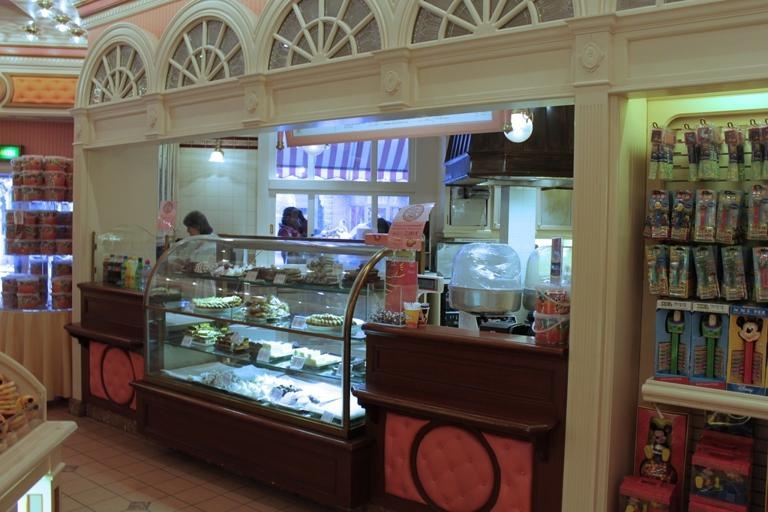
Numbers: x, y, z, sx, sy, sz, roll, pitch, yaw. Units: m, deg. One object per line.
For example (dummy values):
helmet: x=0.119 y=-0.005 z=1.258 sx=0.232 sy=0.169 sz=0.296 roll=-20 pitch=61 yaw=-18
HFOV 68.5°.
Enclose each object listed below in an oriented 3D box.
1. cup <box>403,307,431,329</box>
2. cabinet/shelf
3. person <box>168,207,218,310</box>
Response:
cup: x=0.247 y=0.458 z=4.198 sx=0.177 sy=0.120 sz=0.130 roll=1 pitch=-1 yaw=0
cabinet/shelf: x=-1.079 y=0.848 z=4.782 sx=2.361 sy=2.017 sz=0.534 roll=1 pitch=4 yaw=33
person: x=-1.791 y=0.137 z=5.304 sx=0.447 sy=1.115 sz=0.289 roll=0 pitch=0 yaw=-9
